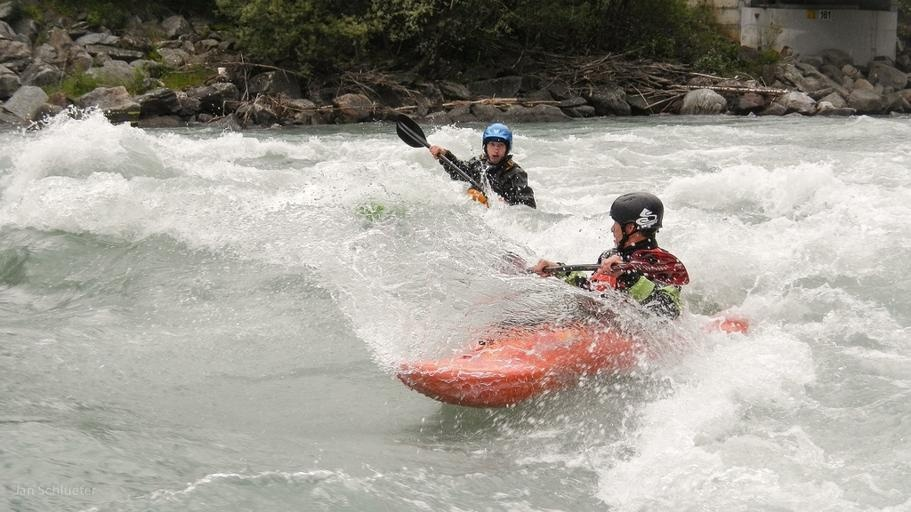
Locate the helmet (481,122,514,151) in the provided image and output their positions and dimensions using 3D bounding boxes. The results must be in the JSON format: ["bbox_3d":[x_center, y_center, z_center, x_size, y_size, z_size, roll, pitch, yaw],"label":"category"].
[{"bbox_3d":[0.749,-2.094,16.626,0.493,0.600,0.406,2,73,8],"label":"helmet"}]
